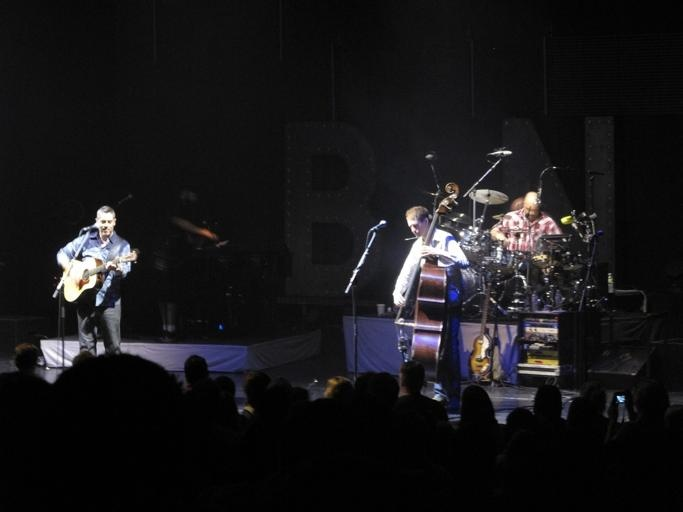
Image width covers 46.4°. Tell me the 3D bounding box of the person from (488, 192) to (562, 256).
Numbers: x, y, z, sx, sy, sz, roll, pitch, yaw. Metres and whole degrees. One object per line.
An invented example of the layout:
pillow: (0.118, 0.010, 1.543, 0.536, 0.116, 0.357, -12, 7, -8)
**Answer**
person: (2.339, -0.280, 10.074, 0.720, 0.932, 0.285, 8, -34, 7)

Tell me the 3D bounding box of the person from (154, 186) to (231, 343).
person: (-2.014, 0.275, 10.128, 0.657, 1.504, 0.720, 4, -3, -28)

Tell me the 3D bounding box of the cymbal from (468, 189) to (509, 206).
cymbal: (1.755, -0.710, 9.630, 0.503, 0.226, 0.352, 3, -3, -16)

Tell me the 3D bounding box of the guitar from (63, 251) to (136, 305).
guitar: (-2.580, 0.207, 8.329, 0.843, 0.562, 0.322, 1, -3, 27)

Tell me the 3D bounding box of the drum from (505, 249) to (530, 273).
drum: (2.014, 0.058, 9.063, 0.261, 0.247, 0.298, 2, -3, 9)
